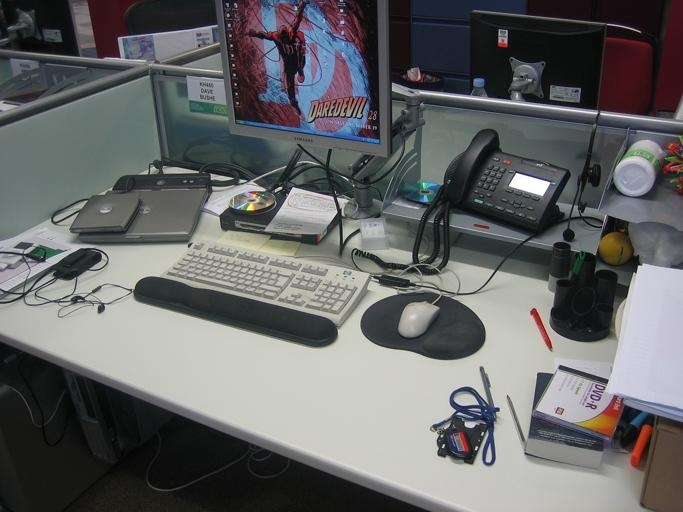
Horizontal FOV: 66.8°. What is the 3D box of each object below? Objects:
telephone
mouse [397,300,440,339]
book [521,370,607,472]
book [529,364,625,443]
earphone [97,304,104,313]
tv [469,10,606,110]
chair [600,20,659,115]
[{"bbox_3d":[0.436,-0.202,1.343,0.178,0.181,0.291,-27,37,-26],"label":"telephone"},{"bbox_3d":[0.176,0.139,1.215,0.091,0.050,0.145,5,22,17],"label":"mouse"},{"bbox_3d":[0.419,0.320,1.005,0.141,0.045,0.202,9,22,13],"label":"book"},{"bbox_3d":[0.434,0.286,0.974,0.137,0.029,0.140,20,43,29],"label":"book"},{"bbox_3d":[-0.588,0.131,1.271,0.016,0.007,0.021,5,42,3],"label":"earphone"},{"bbox_3d":[0.617,-0.624,1.668,0.505,0.357,0.062,16,38,33],"label":"tv"},{"bbox_3d":[1.270,-0.821,2.285,0.257,0.360,0.332,17,34,23],"label":"chair"}]
